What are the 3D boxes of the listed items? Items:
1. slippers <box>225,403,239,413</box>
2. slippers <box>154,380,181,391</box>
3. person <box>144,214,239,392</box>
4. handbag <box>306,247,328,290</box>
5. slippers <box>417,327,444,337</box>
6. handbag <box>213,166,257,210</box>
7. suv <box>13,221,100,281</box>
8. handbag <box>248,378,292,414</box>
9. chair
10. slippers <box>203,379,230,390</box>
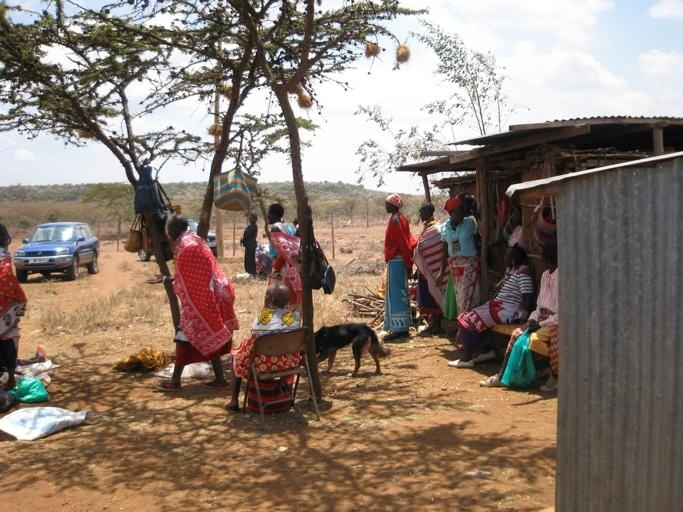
[{"bbox_3d":[-1.194,1.646,6.864,0.061,0.118,0.172,0,14,-41],"label":"slippers"},{"bbox_3d":[-2.087,1.566,7.559,0.272,0.110,0.114,6,2,7],"label":"slippers"},{"bbox_3d":[-1.673,0.568,7.391,0.857,2.101,0.534,-3,8,-10],"label":"person"},{"bbox_3d":[-0.248,0.124,7.350,0.241,0.637,0.584,-1,8,7],"label":"handbag"},{"bbox_3d":[1.465,1.272,10.481,0.444,0.174,0.148,4,2,1],"label":"slippers"},{"bbox_3d":[-1.424,-0.936,8.603,0.589,0.637,0.343,5,5,-17],"label":"handbag"},{"bbox_3d":[-8.401,-0.170,18.836,1.542,1.183,2.881,-2,-2,3],"label":"suv"},{"bbox_3d":[-0.788,1.502,6.965,0.468,0.474,0.411,0,3,-6],"label":"handbag"},{"bbox_3d":[-0.684,1.235,6.697,0.672,0.946,0.680,-4,5,-30],"label":"chair"},{"bbox_3d":[-1.547,1.583,7.745,0.240,0.089,0.109,5,1,10],"label":"slippers"}]
